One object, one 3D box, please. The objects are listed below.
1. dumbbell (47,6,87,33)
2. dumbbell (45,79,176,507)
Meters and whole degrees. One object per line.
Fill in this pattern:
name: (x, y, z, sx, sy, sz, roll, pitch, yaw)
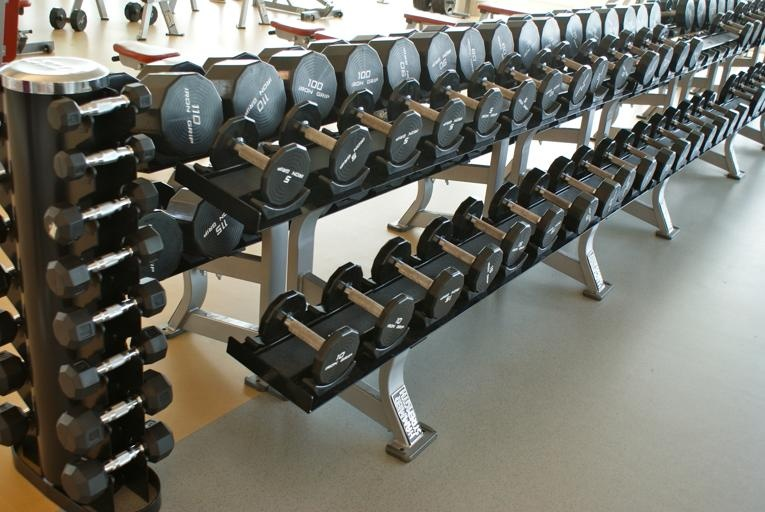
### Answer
dumbbell: (-2.698, -2.032, 5.147, 0.321, 0.216, 0.218, 14, 37, 15)
dumbbell: (-0.674, 0.163, 1.493, 0.307, 1.118, 0.239, 18, 26, 34)
